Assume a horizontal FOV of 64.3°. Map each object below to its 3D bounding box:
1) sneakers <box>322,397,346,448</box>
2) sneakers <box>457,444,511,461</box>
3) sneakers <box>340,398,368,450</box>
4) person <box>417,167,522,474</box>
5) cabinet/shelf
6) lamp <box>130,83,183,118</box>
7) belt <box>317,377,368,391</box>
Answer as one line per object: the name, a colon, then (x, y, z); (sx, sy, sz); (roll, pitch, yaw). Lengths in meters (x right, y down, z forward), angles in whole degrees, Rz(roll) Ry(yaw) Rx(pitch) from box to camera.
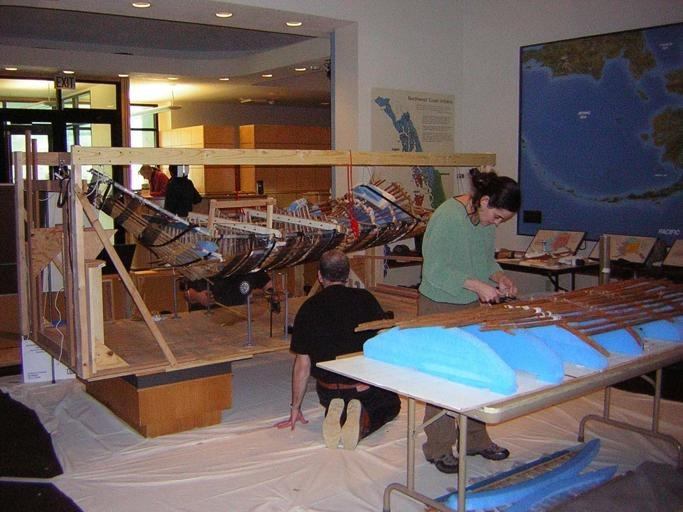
sneakers: (-0.057, 1.166, 3.785); (0.135, 0.361, 0.137); (5, -9, 15)
sneakers: (0.997, 1.307, 3.622); (0.230, 0.068, 0.120); (-1, 3, 10)
sneakers: (0.076, 1.162, 3.817); (0.142, 0.352, 0.145); (5, -9, 23)
person: (0.833, 0.391, 3.531); (0.755, 1.867, 0.737); (3, -1, -37)
cabinet/shelf: (-1.537, -1.444, 9.290); (3.049, 1.837, 1.554); (-3, 5, -28)
lamp: (-4.379, -3.541, 12.881); (1.153, 0.483, 3.503); (-4, 10, -20)
belt: (0.012, 0.900, 3.884); (0.230, 0.049, 0.113); (1, 4, 11)
